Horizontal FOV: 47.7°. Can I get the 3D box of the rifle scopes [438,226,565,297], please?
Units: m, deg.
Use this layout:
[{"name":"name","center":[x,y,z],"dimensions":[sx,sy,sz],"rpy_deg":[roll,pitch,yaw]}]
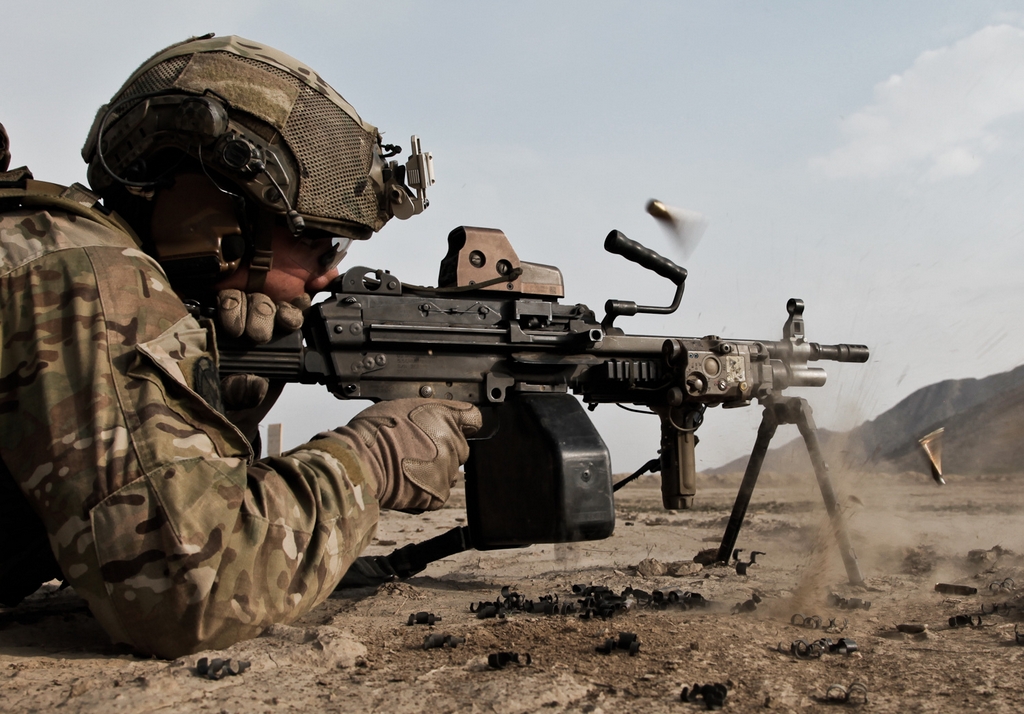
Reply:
[{"name":"rifle scopes","center":[-0.136,-0.485,6.238],"dimensions":[0.627,0.364,0.255],"rpy_deg":[5,-13,-24]}]
